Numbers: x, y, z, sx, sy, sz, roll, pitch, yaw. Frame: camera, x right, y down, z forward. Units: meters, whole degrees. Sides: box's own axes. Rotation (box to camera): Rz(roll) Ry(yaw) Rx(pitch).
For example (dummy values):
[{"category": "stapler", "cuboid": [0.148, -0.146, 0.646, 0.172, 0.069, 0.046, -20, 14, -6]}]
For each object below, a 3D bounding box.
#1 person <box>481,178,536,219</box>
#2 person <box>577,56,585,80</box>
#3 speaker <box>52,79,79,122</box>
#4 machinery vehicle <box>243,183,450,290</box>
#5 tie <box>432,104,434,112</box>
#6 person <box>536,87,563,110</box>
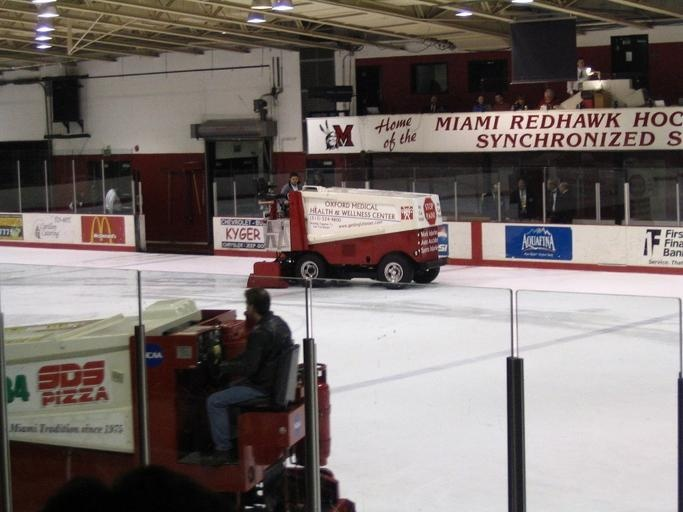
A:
[{"category": "person", "cuboid": [3.958, -1.254, 18.886, 1.465, 1.181, 0.816, 0, 1, 33]}, {"category": "person", "cuboid": [6.093, -4.709, 20.352, 0.192, 0.630, 0.749, -3, 2, 17]}, {"category": "speaker", "cuboid": [-9.734, -5.483, 28.403, 0.979, 1.563, 0.411, -4, 2, -21]}, {"category": "machinery vehicle", "cuboid": [0.323, -0.444, 16.905, 3.444, 2.029, 1.978, 2, 3, 17]}, {"category": "tie", "cuboid": [2.547, -4.045, 22.248, 0.104, 0.208, 0.048, -2, -18, 9]}, {"category": "person", "cuboid": [5.232, -3.875, 20.187, 0.485, 0.385, 0.910, -4, 2, 16]}]
